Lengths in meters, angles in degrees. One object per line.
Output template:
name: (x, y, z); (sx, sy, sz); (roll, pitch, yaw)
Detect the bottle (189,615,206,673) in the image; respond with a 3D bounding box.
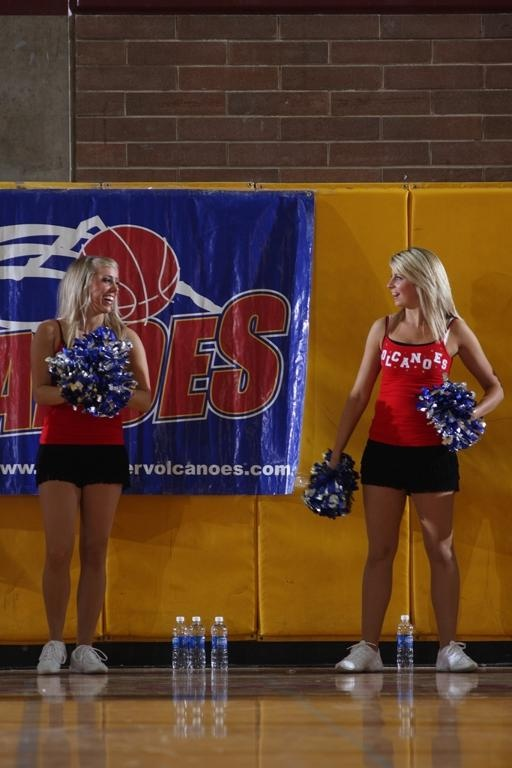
bottle: (-0.229, 1.039, 4.790); (0.067, 0.199, 0.254); (3, -4, -2)

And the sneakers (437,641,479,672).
sneakers: (0.735, 1.012, 4.436); (0.076, 0.086, 0.162); (0, -9, -28)

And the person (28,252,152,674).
person: (-0.618, 0.295, 4.435); (0.444, 1.559, 0.396); (3, -4, -13)

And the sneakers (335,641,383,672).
sneakers: (0.364, 1.001, 4.382); (0.084, 0.088, 0.168); (-10, -17, 43)

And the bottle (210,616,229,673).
bottle: (-0.145, 1.040, 4.790); (0.071, 0.202, 0.297); (3, -4, -1)

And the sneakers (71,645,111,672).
sneakers: (-0.605, 1.010, 4.386); (0.099, 0.101, 0.147); (6, -5, -34)

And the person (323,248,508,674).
person: (0.579, 0.288, 4.475); (0.612, 1.582, 0.199); (2, -3, 5)

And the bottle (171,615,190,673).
bottle: (-0.297, 1.048, 4.815); (0.075, 0.194, 0.214); (3, -4, -3)

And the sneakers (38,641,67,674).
sneakers: (-0.743, 1.008, 4.395); (0.092, 0.130, 0.149); (4, -4, -14)
